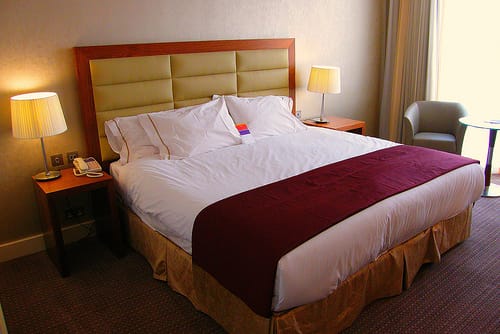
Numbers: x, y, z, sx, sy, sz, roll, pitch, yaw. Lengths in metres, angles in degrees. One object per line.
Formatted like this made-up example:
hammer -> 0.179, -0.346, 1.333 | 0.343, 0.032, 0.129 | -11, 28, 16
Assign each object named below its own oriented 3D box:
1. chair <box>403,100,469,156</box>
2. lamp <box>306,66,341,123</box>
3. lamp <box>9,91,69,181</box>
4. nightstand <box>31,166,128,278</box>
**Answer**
chair -> 2.762, -0.595, 5.268 | 0.848, 0.989, 0.858 | 6, 19, 26
lamp -> 1.129, -1.104, 5.307 | 0.505, 0.840, 0.506 | 5, 21, 11
lamp -> -2.145, -0.317, 3.549 | 0.466, 0.859, 0.394 | -13, 20, -25
nightstand -> -1.829, 0.584, 3.656 | 0.654, 0.949, 0.693 | -21, 36, -35
